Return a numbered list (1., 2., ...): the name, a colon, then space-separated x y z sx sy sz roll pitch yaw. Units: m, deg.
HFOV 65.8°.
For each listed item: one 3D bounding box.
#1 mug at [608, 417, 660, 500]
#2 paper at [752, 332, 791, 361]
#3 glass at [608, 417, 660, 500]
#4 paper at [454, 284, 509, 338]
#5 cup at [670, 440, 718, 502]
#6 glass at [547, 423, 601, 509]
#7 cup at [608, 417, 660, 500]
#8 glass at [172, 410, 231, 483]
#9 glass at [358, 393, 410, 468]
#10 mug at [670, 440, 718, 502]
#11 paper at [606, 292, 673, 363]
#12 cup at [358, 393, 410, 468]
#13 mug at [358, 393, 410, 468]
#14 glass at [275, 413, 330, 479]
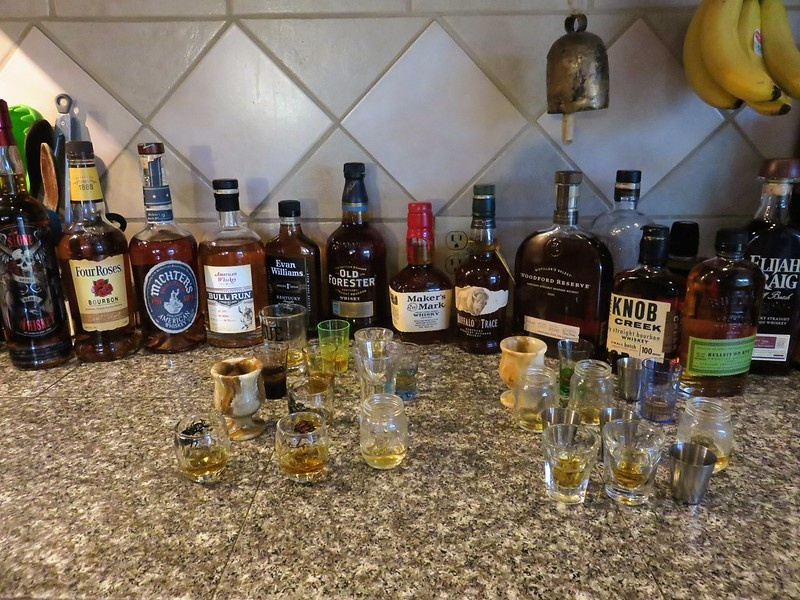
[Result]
1. mug: 0.332 0.230 0.893 0.077 0.093 0.100 7 13 35
2. paper: 0.684 0.088 1.139 0.072 0.066 0.051 3 1 26
3. glass: 0.332 0.230 0.893 0.077 0.093 0.100 7 13 35
4. paper: 0.158 0.021 1.224 0.105 0.108 0.102 3 30 7
5. cup: 0.412 0.244 0.878 0.058 0.068 0.073 5 12 25
6. glass: 0.229 0.226 0.885 0.098 0.104 0.097 1 22 5
7. cup: 0.332 0.230 0.893 0.077 0.093 0.100 7 13 35
8. glass: -0.293 0.219 0.916 0.072 0.083 0.060 -10 15 -40
9. glass: -0.026 0.199 0.924 0.094 0.124 0.092 -1 20 0
10. mug: 0.412 0.244 0.878 0.058 0.068 0.073 5 12 25
11. paper: 0.437 0.048 1.116 0.081 0.151 0.089 -15 22 -38
12. cup: -0.025 0.199 0.924 0.094 0.124 0.092 -1 20 0
13. mug: -0.019 0.193 0.958 0.094 0.124 0.092 -1 20 0
14. glass: -0.142 0.215 0.906 0.087 0.080 0.085 0 19 1
